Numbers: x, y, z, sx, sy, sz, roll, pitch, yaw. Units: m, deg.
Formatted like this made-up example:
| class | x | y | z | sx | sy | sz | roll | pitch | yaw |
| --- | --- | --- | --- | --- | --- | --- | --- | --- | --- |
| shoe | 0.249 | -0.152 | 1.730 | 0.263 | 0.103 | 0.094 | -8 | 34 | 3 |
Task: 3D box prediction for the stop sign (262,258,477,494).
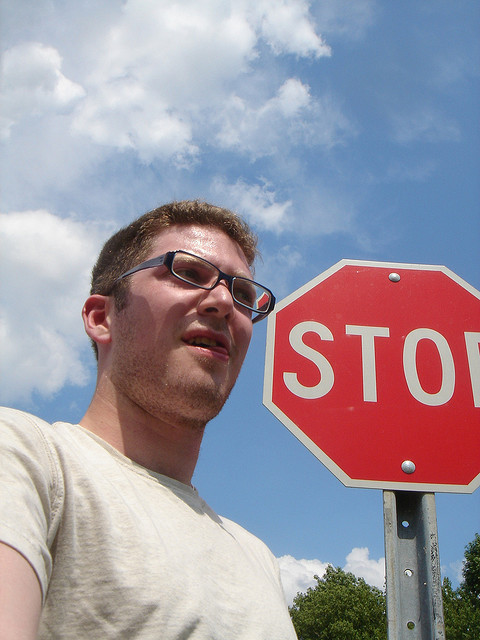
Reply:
| class | x | y | z | sx | sy | sz | roll | pitch | yaw |
| --- | --- | --- | --- | --- | --- | --- | --- | --- | --- |
| stop sign | 0.497 | 0.230 | 2.951 | 1.001 | 0.814 | 0.046 | 6 | -40 | -2 |
